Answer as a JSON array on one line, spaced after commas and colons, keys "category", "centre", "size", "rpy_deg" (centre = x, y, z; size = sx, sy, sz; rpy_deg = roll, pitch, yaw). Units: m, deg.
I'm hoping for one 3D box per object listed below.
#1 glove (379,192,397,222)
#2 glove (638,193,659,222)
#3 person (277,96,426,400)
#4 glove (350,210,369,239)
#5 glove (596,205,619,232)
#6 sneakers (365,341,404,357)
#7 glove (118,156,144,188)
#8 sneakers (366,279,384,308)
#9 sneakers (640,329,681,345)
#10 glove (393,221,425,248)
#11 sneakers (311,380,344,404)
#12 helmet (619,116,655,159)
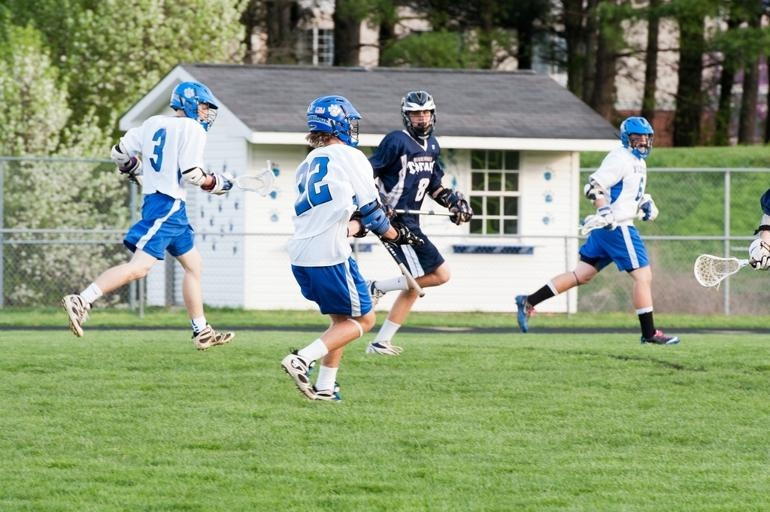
[{"category": "glove", "centre": [0.060, -0.623, 19.262], "size": [0.130, 0.356, 0.280], "rpy_deg": [-25, 20, -9]}, {"category": "glove", "centre": [3.882, -0.759, 21.431], "size": [0.285, 0.252, 0.624], "rpy_deg": [15, 21, -8]}, {"category": "person", "centre": [-0.604, -0.071, 18.069], "size": [1.448, 3.817, 0.713], "rpy_deg": [-3, 3, -31]}, {"category": "glove", "centre": [-0.300, -0.377, 18.160], "size": [0.247, 0.291, 0.176], "rpy_deg": [16, 9, 29]}, {"category": "glove", "centre": [3.175, -0.527, 20.572], "size": [0.264, 0.315, 0.153], "rpy_deg": [-4, 3, 4]}, {"category": "sneakers", "centre": [-0.007, 1.287, 19.818], "size": [0.577, 0.230, 0.180], "rpy_deg": [3, -1, -2]}, {"category": "glove", "centre": [-3.443, -1.127, 19.712], "size": [0.324, 0.362, 0.202], "rpy_deg": [-13, 17, -14]}, {"category": "sneakers", "centre": [-0.122, 0.540, 19.882], "size": [0.191, 0.401, 0.141], "rpy_deg": [-12, -28, 7]}, {"category": "sneakers", "centre": [3.964, 1.194, 21.012], "size": [0.654, 0.249, 0.209], "rpy_deg": [0, -4, 3]}, {"category": "glove", "centre": [0.318, -0.243, 19.207], "size": [0.540, 0.168, 0.237], "rpy_deg": [22, -12, 36]}, {"category": "sneakers", "centre": [-0.722, 1.749, 18.287], "size": [0.465, 0.277, 0.147], "rpy_deg": [8, -1, -6]}, {"category": "helmet", "centre": [3.684, -1.747, 21.112], "size": [0.464, 0.508, 0.566], "rpy_deg": [-4, 8, -30]}]
